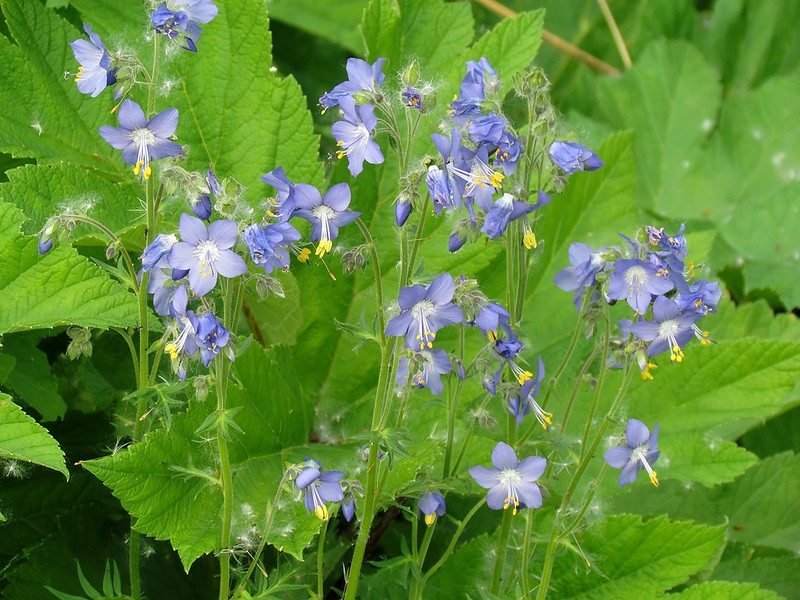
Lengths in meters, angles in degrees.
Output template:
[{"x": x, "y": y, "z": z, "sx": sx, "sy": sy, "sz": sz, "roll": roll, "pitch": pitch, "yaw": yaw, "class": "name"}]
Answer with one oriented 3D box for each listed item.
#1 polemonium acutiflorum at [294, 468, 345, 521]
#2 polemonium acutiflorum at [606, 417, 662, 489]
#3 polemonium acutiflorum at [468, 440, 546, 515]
[{"x": -0.101, "y": 0.244, "z": 1.127, "sx": 0.059, "sy": 0.065, "sz": 0.024, "roll": 6, "pitch": 20, "yaw": -42, "class": "polemonium acutiflorum"}, {"x": 0.314, "y": 0.201, "z": 1.181, "sx": 0.088, "sy": 0.071, "sz": 0.098, "roll": -1, "pitch": 76, "yaw": -80, "class": "polemonium acutiflorum"}, {"x": 0.143, "y": 0.231, "z": 1.161, "sx": 0.095, "sy": 0.080, "sz": 0.020, "roll": 60, "pitch": 13, "yaw": -8, "class": "polemonium acutiflorum"}]
